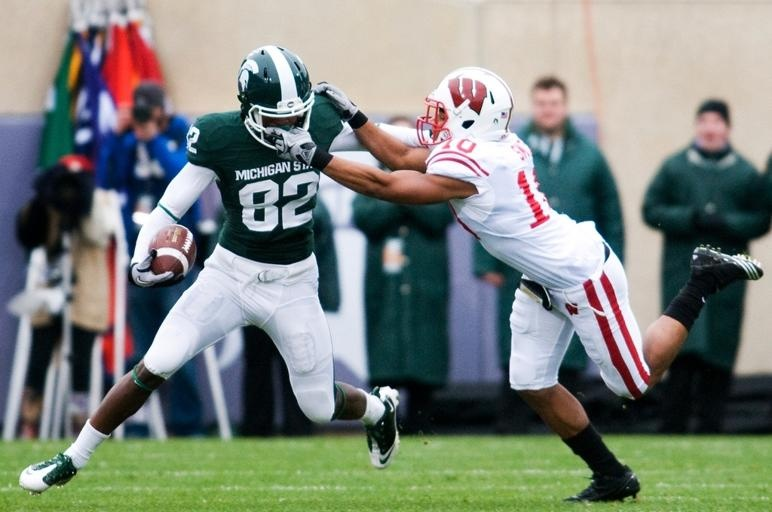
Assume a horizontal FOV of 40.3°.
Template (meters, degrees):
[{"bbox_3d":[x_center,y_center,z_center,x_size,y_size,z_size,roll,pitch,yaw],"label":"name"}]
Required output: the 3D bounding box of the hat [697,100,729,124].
[{"bbox_3d":[2.225,-0.972,7.142,0.157,0.068,0.186,4,0,13],"label":"hat"}]

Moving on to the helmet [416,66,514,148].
[{"bbox_3d":[0.472,-0.863,6.131,0.561,0.446,0.408,3,13,8],"label":"helmet"}]

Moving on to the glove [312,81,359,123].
[{"bbox_3d":[-0.346,-0.875,6.148,0.370,0.147,0.277,5,-9,-28],"label":"glove"}]

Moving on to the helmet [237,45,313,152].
[{"bbox_3d":[-0.634,-0.938,6.005,0.436,0.487,0.560,-8,41,-19],"label":"helmet"}]

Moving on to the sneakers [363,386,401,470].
[{"bbox_3d":[-0.026,1.042,6.359,0.169,0.514,0.223,6,12,37],"label":"sneakers"}]

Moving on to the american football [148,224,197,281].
[{"bbox_3d":[-1.210,-0.010,5.943,0.225,0.320,0.197,26,-39,-11],"label":"american football"}]

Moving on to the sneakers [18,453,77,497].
[{"bbox_3d":[-1.862,1.200,5.849,0.337,0.168,0.191,-29,-17,13],"label":"sneakers"}]

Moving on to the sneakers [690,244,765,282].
[{"bbox_3d":[2.035,0.054,6.339,0.488,0.211,0.177,12,0,-3],"label":"sneakers"}]
